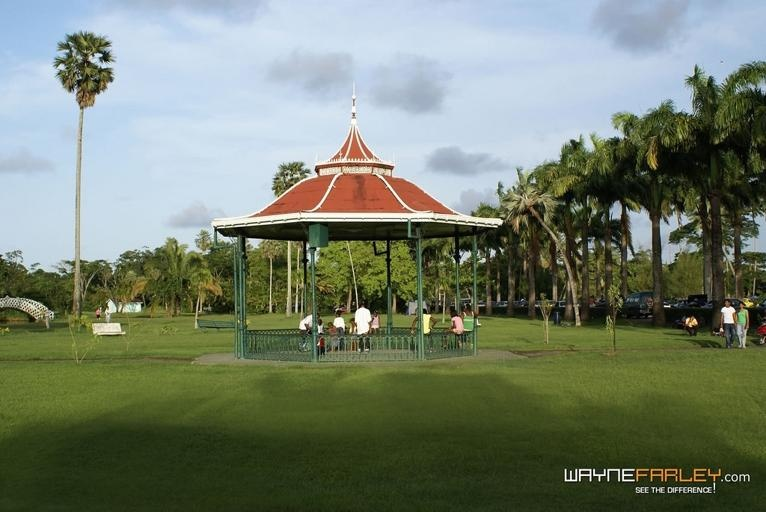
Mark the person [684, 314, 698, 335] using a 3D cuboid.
[{"bbox_3d":[16.690,3.777,44.631,0.601,1.081,1.246,3,10,19],"label":"person"}]
